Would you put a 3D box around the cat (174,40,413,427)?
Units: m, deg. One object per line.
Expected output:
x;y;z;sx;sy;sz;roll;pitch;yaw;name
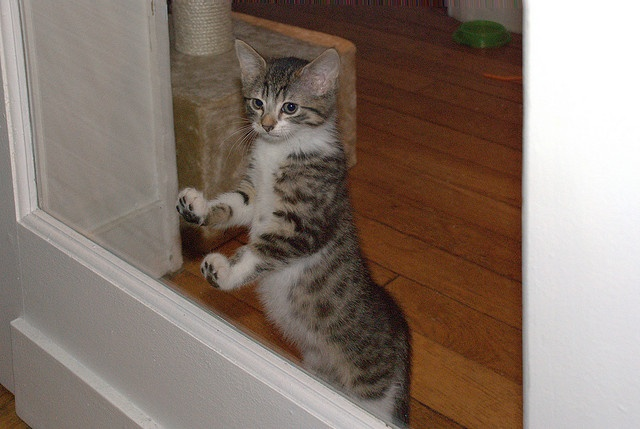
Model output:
-0.006;0.015;0.900;0.411;0.505;0.147;17;31;27;cat
